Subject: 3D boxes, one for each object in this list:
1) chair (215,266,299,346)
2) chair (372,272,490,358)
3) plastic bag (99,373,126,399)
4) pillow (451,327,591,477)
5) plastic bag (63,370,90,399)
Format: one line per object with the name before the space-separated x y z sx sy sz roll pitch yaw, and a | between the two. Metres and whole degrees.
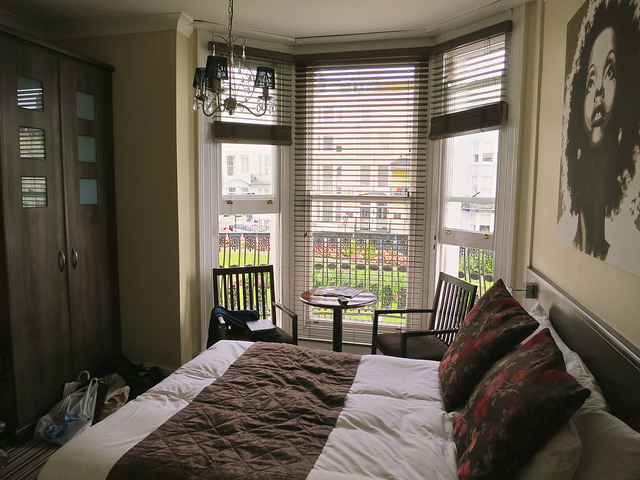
chair | -0.567 0.741 3.955 0.594 0.975 0.531 -4 10 -28
chair | 0.796 0.760 3.658 0.600 0.903 0.591 -3 9 -17
plastic bag | -1.573 1.108 3.596 0.166 0.122 0.215 8 -1 -1
pillow | 0.792 0.726 2.144 0.453 0.510 0.856 3 5 7
plastic bag | -1.803 1.068 3.467 0.123 0.179 0.177 -3 -21 10
